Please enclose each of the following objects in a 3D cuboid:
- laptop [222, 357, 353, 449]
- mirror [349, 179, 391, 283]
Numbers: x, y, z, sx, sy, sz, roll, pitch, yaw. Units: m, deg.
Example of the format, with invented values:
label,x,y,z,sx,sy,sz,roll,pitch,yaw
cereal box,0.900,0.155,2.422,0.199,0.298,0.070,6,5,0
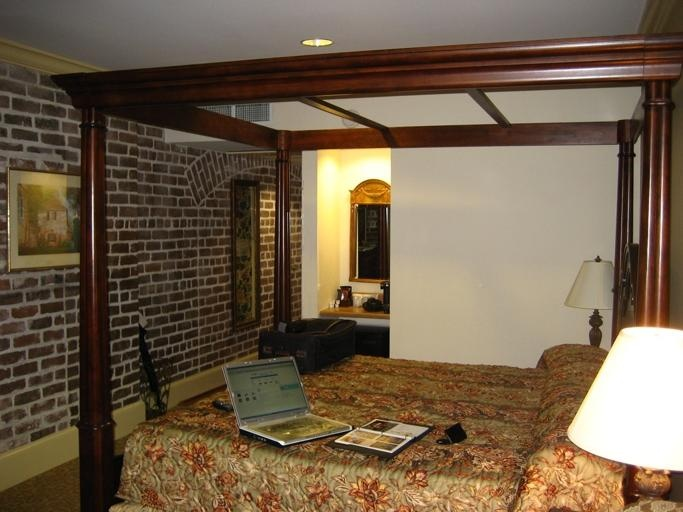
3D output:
label,x,y,z,sx,sy,sz,roll,pitch,yaw
laptop,-0.313,0.709,2.464,0.409,0.268,0.420,0,-1,-42
mirror,0.397,-0.350,6.705,0.682,1.351,0.122,3,-1,25
